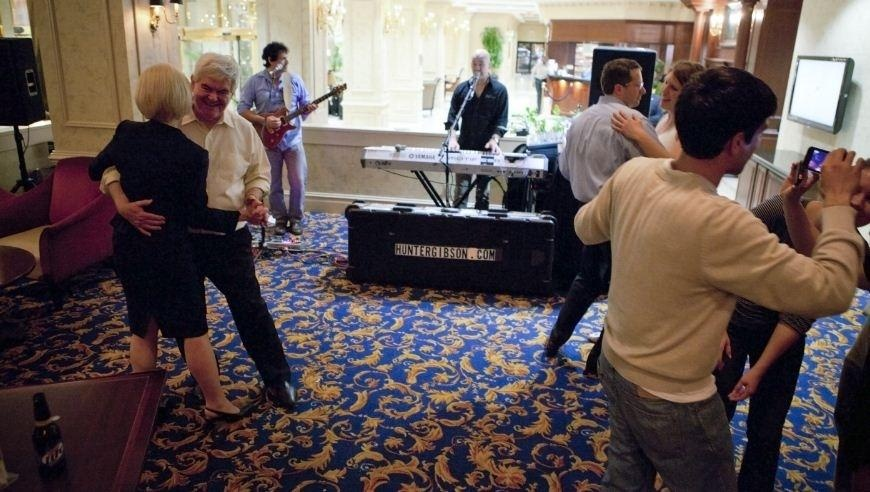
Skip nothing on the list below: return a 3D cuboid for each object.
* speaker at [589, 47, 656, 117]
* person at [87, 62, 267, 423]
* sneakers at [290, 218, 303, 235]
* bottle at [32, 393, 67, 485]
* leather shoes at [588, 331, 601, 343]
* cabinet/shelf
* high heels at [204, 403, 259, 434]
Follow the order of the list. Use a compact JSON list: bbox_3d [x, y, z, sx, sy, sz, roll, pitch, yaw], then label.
[{"bbox_3d":[1.791,-1.696,5.933,0.399,0.544,0.388,-3,15,-13],"label":"speaker"},{"bbox_3d":[-1.757,0.047,3.877,0.685,2.377,0.447,-5,20,-16],"label":"person"},{"bbox_3d":[-1.641,-0.238,7.112,0.124,0.189,0.194,1,4,2],"label":"sneakers"},{"bbox_3d":[-1.979,0.951,2.999,0.132,0.392,0.312,-13,23,-33],"label":"bottle"},{"bbox_3d":[1.386,0.766,5.025,0.100,0.055,0.171,12,13,42],"label":"leather shoes"},{"bbox_3d":[4.296,-0.784,7.407,0.567,0.615,0.960,10,20,16],"label":"cabinet/shelf"},{"bbox_3d":[-1.402,1.219,4.185,0.417,0.148,0.132,-3,-2,-16],"label":"high heels"}]
